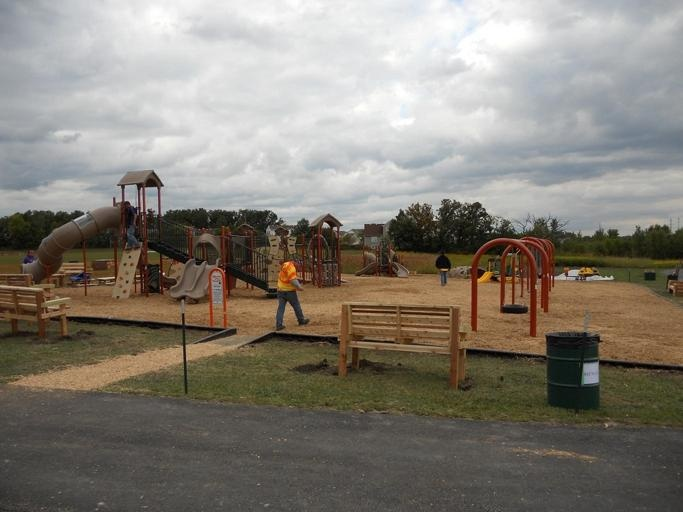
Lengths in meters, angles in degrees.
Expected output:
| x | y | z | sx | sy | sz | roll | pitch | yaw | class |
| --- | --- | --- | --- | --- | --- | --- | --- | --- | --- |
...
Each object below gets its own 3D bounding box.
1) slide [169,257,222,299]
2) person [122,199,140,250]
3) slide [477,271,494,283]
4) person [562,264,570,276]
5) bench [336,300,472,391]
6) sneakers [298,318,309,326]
| x | y | z | sx | sy | sz | roll | pitch | yaw | class |
| --- | --- | --- | --- | --- | --- | --- | --- | --- | --- |
| -5.641 | 0.917 | 20.466 | 1.359 | 1.584 | 1.412 | 0 | -1 | -31 | slide |
| -8.792 | -1.260 | 22.701 | 0.610 | 1.986 | 0.747 | 0 | 0 | -25 | person |
| 8.627 | 1.299 | 32.386 | 0.717 | 0.528 | 1.950 | -1 | -1 | 25 | slide |
| 16.843 | 1.101 | 40.664 | 0.661 | 0.829 | 0.595 | -3 | 9 | -18 | person |
| 1.108 | 1.568 | 9.762 | 2.130 | 1.331 | 0.891 | 0 | -3 | 24 | bench |
| -1.000 | 1.775 | 14.348 | 0.321 | 0.230 | 0.133 | 4 | 11 | -1 | sneakers |
